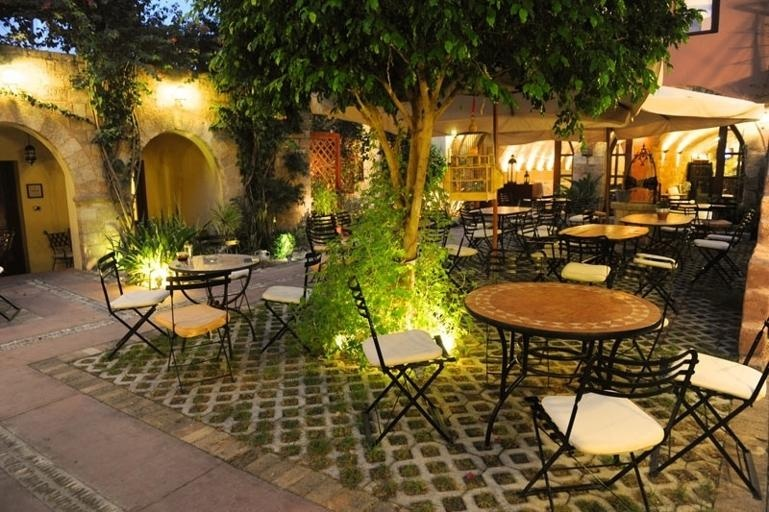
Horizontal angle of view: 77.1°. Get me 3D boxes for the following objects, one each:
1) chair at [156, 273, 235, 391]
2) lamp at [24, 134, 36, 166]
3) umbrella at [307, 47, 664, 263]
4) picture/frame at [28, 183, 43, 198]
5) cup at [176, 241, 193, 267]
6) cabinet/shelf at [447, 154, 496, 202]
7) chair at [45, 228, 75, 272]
[{"bbox_3d":[-2.376,0.811,6.068,0.840,1.255,1.479,-4,9,-18],"label":"chair"},{"bbox_3d":[-8.754,-2.619,11.894,0.279,0.716,0.616,-8,11,-34],"label":"lamp"},{"bbox_3d":[1.886,-1.453,8.100,4.049,2.286,5.485,4,10,33],"label":"umbrella"},{"bbox_3d":[-8.917,-1.681,12.274,0.040,0.377,0.407,9,10,36],"label":"picture/frame"},{"bbox_3d":[-2.684,-0.022,6.458,0.181,0.252,0.315,-6,10,-27],"label":"cup"},{"bbox_3d":[1.100,-0.968,6.356,0.757,0.674,0.552,1,10,11],"label":"cabinet/shelf"},{"bbox_3d":[-8.353,-0.144,12.390,0.556,1.024,1.142,-8,11,-35],"label":"chair"}]
